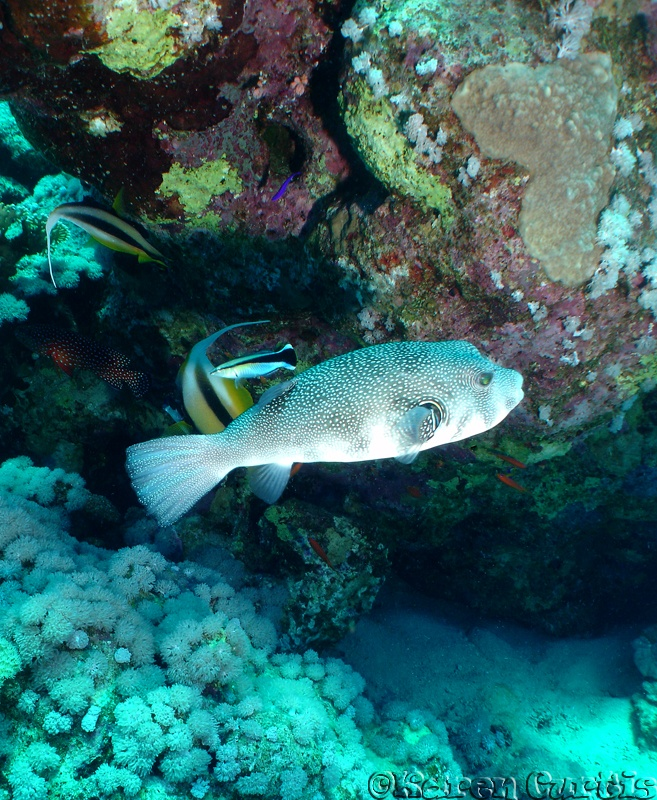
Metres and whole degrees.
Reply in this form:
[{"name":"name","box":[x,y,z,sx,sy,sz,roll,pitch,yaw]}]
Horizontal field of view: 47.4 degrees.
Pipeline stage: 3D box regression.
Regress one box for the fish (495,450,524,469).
[{"name":"fish","box":[1.231,0.393,5.081,0.175,0.070,0.039,33,71,19]}]

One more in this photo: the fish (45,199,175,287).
[{"name":"fish","box":[-1.391,-1.027,4.783,0.733,0.616,0.376,-19,37,-24]}]
